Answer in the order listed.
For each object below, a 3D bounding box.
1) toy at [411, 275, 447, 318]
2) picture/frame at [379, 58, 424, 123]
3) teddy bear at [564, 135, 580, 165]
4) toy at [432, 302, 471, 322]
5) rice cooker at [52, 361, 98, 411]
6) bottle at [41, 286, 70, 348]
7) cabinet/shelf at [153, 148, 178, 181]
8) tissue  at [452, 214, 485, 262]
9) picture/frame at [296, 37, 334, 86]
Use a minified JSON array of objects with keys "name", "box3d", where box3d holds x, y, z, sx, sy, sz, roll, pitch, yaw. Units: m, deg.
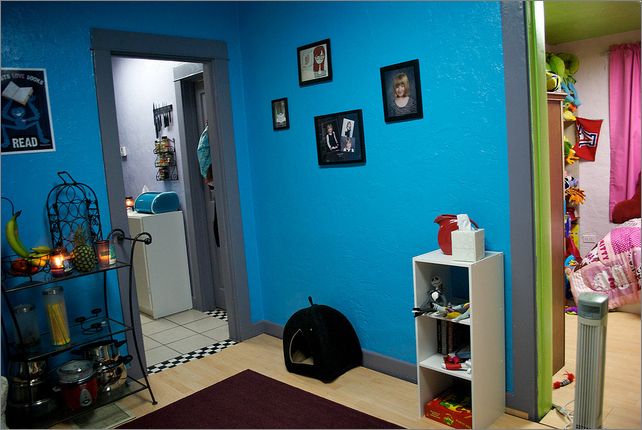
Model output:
[{"name":"toy","box3d":[0.786,0.579,3.207,0.260,0.263,0.142,1,-2,-11]},{"name":"picture/frame","box3d":[0.632,-0.964,3.455,0.347,0.453,0.054,5,17,31]},{"name":"teddy bear","box3d":[2.867,-0.726,5.066,0.106,0.336,0.605,5,17,33]},{"name":"toy","box3d":[0.933,0.689,3.155,0.181,0.066,0.139,-8,-1,23]},{"name":"rice cooker","box3d":[-1.862,1.293,3.400,0.243,0.309,0.189,-11,16,-23]},{"name":"bottle","box3d":[-2.023,0.781,3.354,0.154,0.407,0.169,-10,-1,0]},{"name":"cabinet/shelf","box3d":[-1.868,-0.618,5.347,0.422,0.445,0.145,0,0,37]},{"name":"tissue ","box3d":[0.999,0.158,3.093,0.189,0.326,0.200,-10,15,-37]},{"name":"picture/frame","box3d":[-0.057,-1.344,3.891,0.367,0.361,0.055,6,18,35]}]
